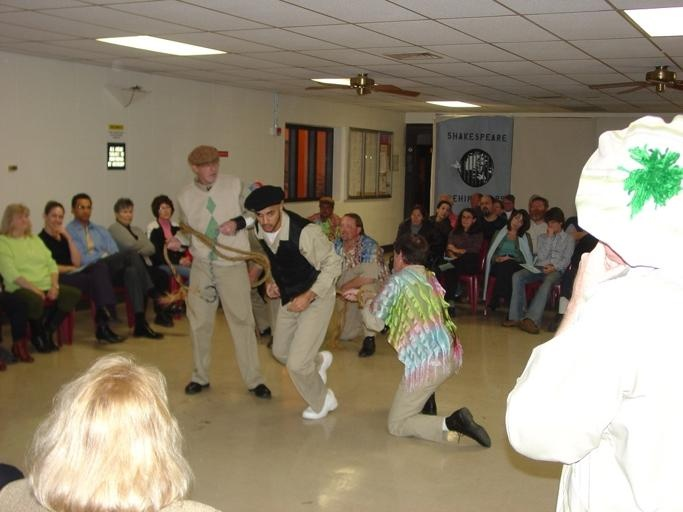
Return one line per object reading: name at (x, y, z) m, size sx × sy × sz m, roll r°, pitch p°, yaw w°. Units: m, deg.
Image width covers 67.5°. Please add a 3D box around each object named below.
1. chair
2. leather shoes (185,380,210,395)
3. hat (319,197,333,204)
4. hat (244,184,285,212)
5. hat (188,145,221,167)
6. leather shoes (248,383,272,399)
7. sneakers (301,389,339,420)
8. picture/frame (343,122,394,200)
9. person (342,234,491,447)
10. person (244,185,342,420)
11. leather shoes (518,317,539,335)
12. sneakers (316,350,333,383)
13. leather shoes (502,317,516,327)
chair at (2.299, 0.352, 7.046) m, size 1.203 × 1.636 × 1.184 m, roll 0°, pitch -3°, yaw 42°
leather shoes at (-1.284, 1.161, 4.494) m, size 0.092 × 0.093 × 0.193 m, roll -2°, pitch -7°, yaw 43°
hat at (-0.213, -0.864, 7.915) m, size 0.182 × 0.105 × 0.189 m, roll 5°, pitch 6°, yaw 29°
hat at (-0.576, -0.408, 3.694) m, size 0.269 × 0.196 × 0.199 m, roll 2°, pitch 8°, yaw 3°
hat at (-1.173, -0.843, 4.295) m, size 0.228 × 0.168 × 0.164 m, roll 2°, pitch 8°, yaw 4°
leather shoes at (-0.701, 1.156, 4.381) m, size 0.198 × 0.096 × 0.097 m, roll -1°, pitch 1°, yaw 45°
sneakers at (-0.179, 1.179, 4.073) m, size 0.154 × 0.127 × 0.301 m, roll 4°, pitch 9°, yaw 39°
picture/frame at (0.682, -2.135, 11.909) m, size 0.121 × 1.597 × 1.811 m, roll -4°, pitch 12°, yaw -30°
person at (0.575, 0.600, 3.624) m, size 0.837 × 1.484 × 0.370 m, roll 3°, pitch 8°, yaw 7°
person at (-0.363, 0.382, 3.918) m, size 0.690 × 1.808 × 0.521 m, roll 1°, pitch 8°, yaw 0°
leather shoes at (2.473, 0.917, 6.649) m, size 0.249 × 0.121 × 0.330 m, roll 11°, pitch 1°, yaw -22°
sneakers at (-0.157, 0.906, 4.265) m, size 0.098 × 0.316 × 0.135 m, roll -9°, pitch -18°, yaw 33°
leather shoes at (2.264, 0.876, 6.911) m, size 0.188 × 0.201 × 0.091 m, roll 2°, pitch 20°, yaw 7°
